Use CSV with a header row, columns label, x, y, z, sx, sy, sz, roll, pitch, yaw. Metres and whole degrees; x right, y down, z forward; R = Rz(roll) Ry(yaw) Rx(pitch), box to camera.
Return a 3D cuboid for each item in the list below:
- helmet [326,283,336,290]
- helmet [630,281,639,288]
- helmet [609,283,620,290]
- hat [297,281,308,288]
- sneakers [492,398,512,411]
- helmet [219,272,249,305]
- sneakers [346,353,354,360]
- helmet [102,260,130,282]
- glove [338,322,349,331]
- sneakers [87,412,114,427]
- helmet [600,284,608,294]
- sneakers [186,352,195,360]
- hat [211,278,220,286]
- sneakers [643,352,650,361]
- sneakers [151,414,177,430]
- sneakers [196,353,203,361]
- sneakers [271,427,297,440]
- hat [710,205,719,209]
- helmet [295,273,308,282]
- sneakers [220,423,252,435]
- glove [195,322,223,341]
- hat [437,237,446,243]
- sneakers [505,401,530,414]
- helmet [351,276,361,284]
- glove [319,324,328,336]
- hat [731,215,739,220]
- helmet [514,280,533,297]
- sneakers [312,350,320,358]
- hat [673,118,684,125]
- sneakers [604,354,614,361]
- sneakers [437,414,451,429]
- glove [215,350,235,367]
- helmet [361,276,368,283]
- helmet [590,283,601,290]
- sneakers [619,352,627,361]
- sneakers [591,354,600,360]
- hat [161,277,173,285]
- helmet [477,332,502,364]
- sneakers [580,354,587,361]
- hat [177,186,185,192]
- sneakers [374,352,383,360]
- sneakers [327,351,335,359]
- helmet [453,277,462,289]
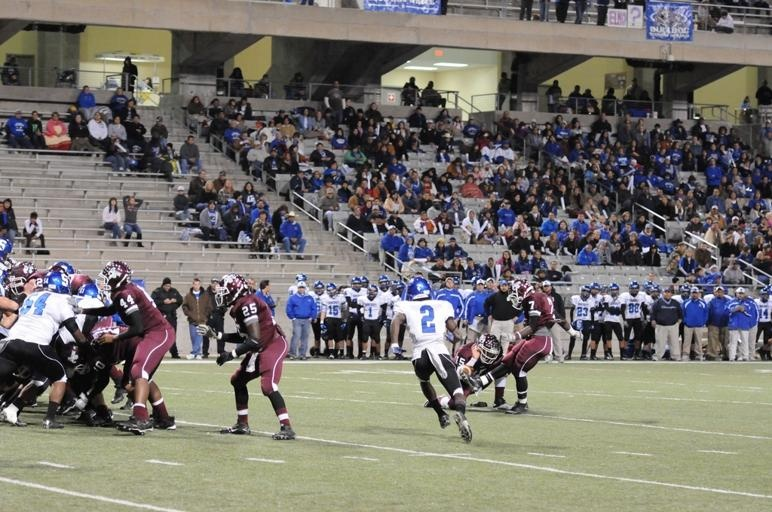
label,x,y,z,sx,sy,sz,roll,pitch,yaw
helmet,-1.499,0.827,39.573,0.261,0.193,0.306,2,15,0
helmet,7.304,0.850,41.909,0.247,0.229,0.195,-12,16,-27
helmet,6.637,0.892,41.501,0.258,0.197,0.454,3,15,5
hat,-2.306,0.767,39.292,0.233,0.175,0.386,2,-5,-6
sneakers,2.457,3.165,30.235,0.434,0.204,0.148,-1,9,-4
helmet,-2.845,0.619,27.120,0.590,0.592,0.482,-2,0,5
sneakers,-1.007,2.814,40.324,0.195,0.202,0.128,-7,-2,33
helmet,-5.113,0.316,27.095,0.473,0.421,0.350,-23,37,-15
glove,-1.175,1.950,39.735,0.081,0.238,0.234,7,0,30
sneakers,-5.593,3.207,27.854,0.202,0.258,0.560,-2,-18,30
helmet,6.393,0.959,41.609,0.218,0.256,0.219,-2,5,-27
sneakers,-5.271,2.711,38.540,0.190,0.129,0.117,-4,-6,43
hat,-4.365,0.656,36.462,0.170,0.164,0.275,11,-24,-12
sneakers,7.701,2.927,41.822,0.281,0.157,0.474,4,15,6
sneakers,-4.248,3.191,27.383,0.528,0.246,0.199,9,6,15
sneakers,-5.057,2.722,38.585,0.128,0.080,0.195,-6,7,3
sneakers,-1.895,3.340,26.803,0.413,0.220,0.199,2,-2,-1
hat,11.133,-1.672,48.150,0.222,0.198,0.272,0,-12,3
helmet,-2.349,0.591,39.497,0.279,0.306,0.235,7,-3,-38
sneakers,-2.810,3.308,27.218,0.627,0.277,0.217,5,-4,6
glove,-3.319,1.421,26.934,0.439,0.405,0.592,0,15,-8
hat,1.683,-0.501,42.484,0.157,0.178,0.225,2,-17,-3
sneakers,2.766,3.192,29.939,0.473,0.204,0.198,4,-6,-40
helmet,-0.832,0.663,39.685,0.239,0.191,0.316,-1,15,-10
glove,-1.707,2.036,39.651,0.106,0.383,0.309,-8,18,-35
hat,11.657,-1.294,47.498,0.238,0.140,0.375,0,1,22
helmet,2.899,0.687,30.409,0.434,0.381,0.399,4,15,6
sneakers,-1.970,2.760,40.234,0.199,0.231,0.211,-12,-17,41
hat,11.346,-5.248,55.270,0.381,0.131,0.403,2,-16,6
sneakers,6.608,2.954,42.077,0.129,0.165,0.388,1,2,28
sneakers,1.104,3.169,27.200,0.190,0.261,0.266,3,-33,-9
glove,-3.040,1.933,26.810,0.366,0.232,0.139,-7,-28,10
helmet,-0.603,0.621,39.872,0.182,0.162,0.558,1,15,-3
helmet,6.129,0.830,41.607,0.211,0.273,0.250,7,-12,-15
sneakers,7.005,2.956,41.967,0.183,0.187,0.644,5,15,10
sneakers,6.151,2.960,41.900,0.172,0.085,0.249,4,-1,-20
hat,-5.847,0.679,38.165,0.187,0.255,0.250,9,5,-19
helmet,2.120,1.909,30.009,0.469,0.496,0.589,22,13,-44
sneakers,5.799,2.946,41.686,0.303,0.222,0.105,-3,5,0
hat,-6.338,-2.110,44.091,0.192,0.135,0.287,2,-9,-9
sneakers,-0.225,2.819,40.162,0.115,0.152,0.351,1,-9,-9
sneakers,-1.523,2.765,40.054,0.147,0.243,0.238,0,-8,-5
helmet,2.076,0.739,40.985,0.248,0.311,0.322,1,-45,6
